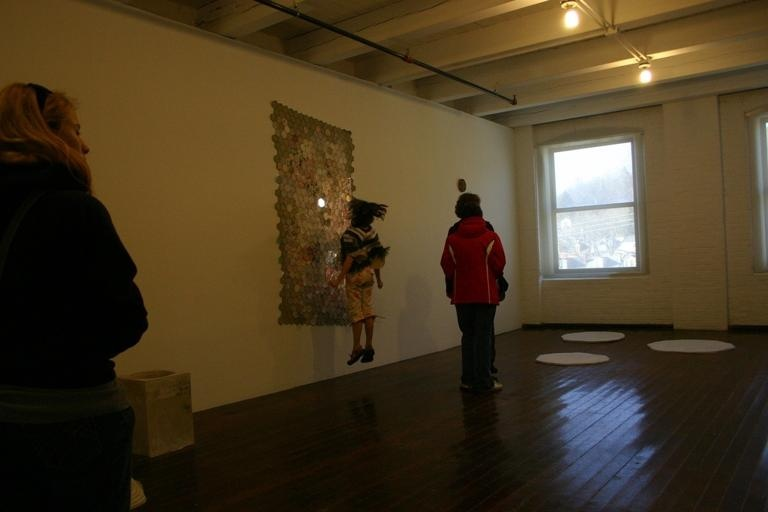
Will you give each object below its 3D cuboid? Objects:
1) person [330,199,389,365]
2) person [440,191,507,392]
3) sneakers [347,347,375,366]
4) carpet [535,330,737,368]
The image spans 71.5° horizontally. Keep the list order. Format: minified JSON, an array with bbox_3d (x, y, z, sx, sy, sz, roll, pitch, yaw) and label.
[{"bbox_3d":[-0.242,0.244,5.691,0.565,1.345,0.364,-3,-1,0],"label":"person"},{"bbox_3d":[0.900,0.333,5.257,0.594,1.667,0.526,-3,-1,12],"label":"person"},{"bbox_3d":[-0.264,1.062,5.691,0.172,0.161,0.426,12,-17,-21],"label":"sneakers"},{"bbox_3d":[3.082,1.166,7.087,2.573,0.039,1.841,-3,0,-10],"label":"carpet"}]
